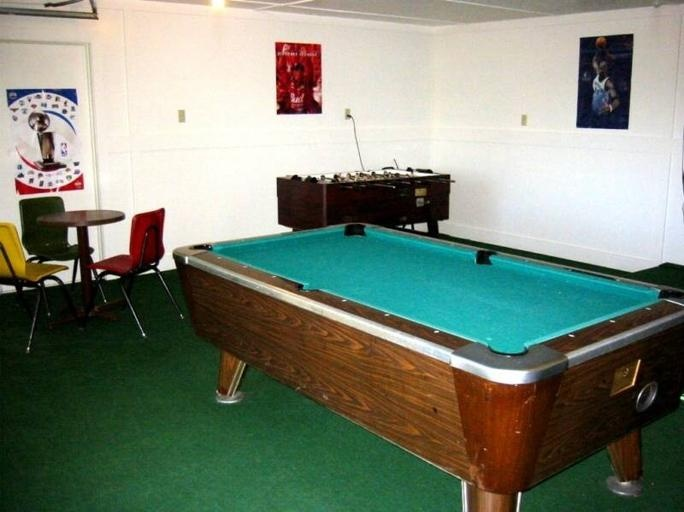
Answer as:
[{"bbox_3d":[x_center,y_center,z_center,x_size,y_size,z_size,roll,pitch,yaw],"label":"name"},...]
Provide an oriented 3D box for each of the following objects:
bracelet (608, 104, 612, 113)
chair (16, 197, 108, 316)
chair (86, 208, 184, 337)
[{"bbox_3d":[2.950,-1.631,5.300,0.014,0.081,0.072,-12,18,-29],"label":"bracelet"},{"bbox_3d":[-2.417,-0.201,4.546,0.864,1.047,0.724,14,18,41],"label":"chair"},{"bbox_3d":[-1.864,0.066,4.282,0.658,0.991,1.204,-10,16,-25],"label":"chair"}]
